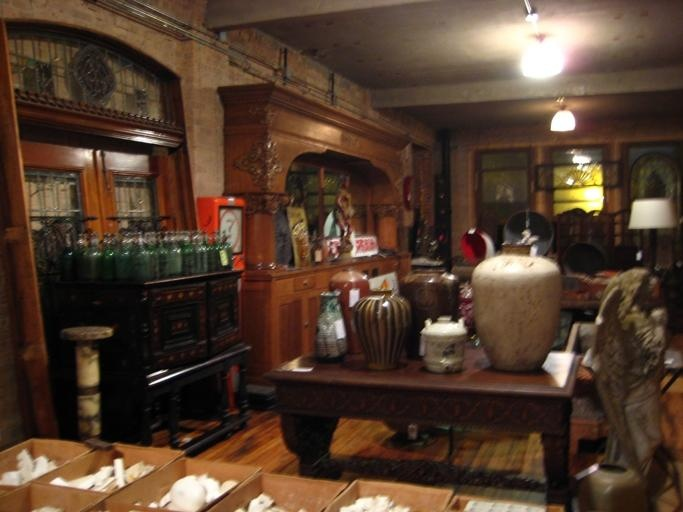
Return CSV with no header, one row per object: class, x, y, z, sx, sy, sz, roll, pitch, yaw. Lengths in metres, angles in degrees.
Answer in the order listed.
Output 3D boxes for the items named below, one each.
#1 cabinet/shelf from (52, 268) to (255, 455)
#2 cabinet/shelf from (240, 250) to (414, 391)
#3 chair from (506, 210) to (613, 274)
cabinet/shelf,-1.413,0.837,4.072,0.837,1.349,1.417,-3,-2,16
cabinet/shelf,-0.360,0.773,6.488,0.528,1.256,3.101,-3,-1,20
chair,3.399,-0.252,7.776,0.987,0.637,1.023,17,7,34
